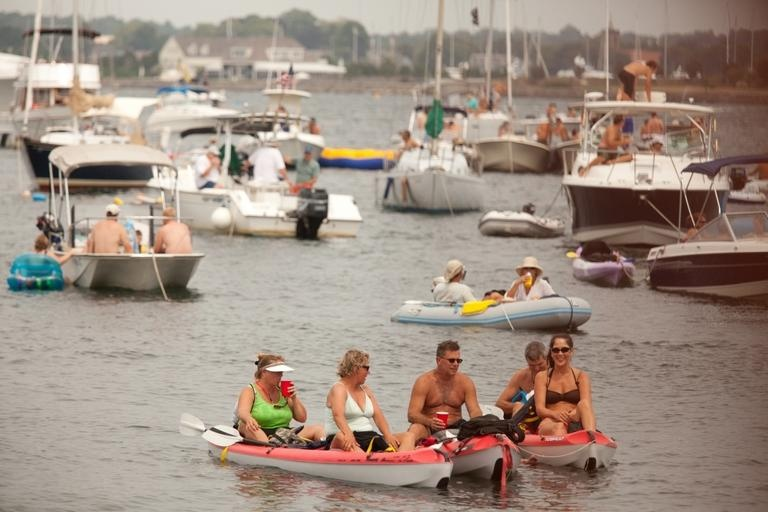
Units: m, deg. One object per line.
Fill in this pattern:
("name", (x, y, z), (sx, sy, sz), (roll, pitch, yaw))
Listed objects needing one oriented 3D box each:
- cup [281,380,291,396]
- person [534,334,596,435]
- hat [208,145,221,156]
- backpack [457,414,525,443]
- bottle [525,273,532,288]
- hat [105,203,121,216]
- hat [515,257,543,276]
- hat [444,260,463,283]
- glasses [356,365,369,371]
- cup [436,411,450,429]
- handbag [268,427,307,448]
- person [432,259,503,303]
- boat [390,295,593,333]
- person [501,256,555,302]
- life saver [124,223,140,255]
("cup", (-1.797, 2.391, 27.460), (0.206, 0.276, 0.174), (0, 7, 0))
("person", (3.302, 2.347, 27.532), (1.069, 1.853, 0.440), (1, 7, 7))
("hat", (-4.268, -2.681, 37.590), (0.280, 0.229, 0.541), (-1, 6, -7))
("backpack", (1.909, 3.084, 27.258), (0.825, 0.298, 0.577), (1, -1, -4))
("bottle", (3.006, 0.486, 31.308), (0.227, 0.324, 0.226), (0, 6, 0))
("hat", (-5.943, -1.037, 32.793), (0.257, 0.244, 0.425), (-1, 6, -6))
("hat", (3.038, 0.183, 31.393), (0.513, 0.388, 0.536), (-1, 6, -13))
("hat", (1.458, 0.287, 31.547), (0.352, 0.459, 0.468), (-4, 7, -30))
("glasses", (-0.361, 1.996, 27.030), (0.194, 0.119, 0.073), (-5, 8, -40))
("cup", (1.054, 2.977, 27.391), (0.269, 0.271, 0.265), (-2, -1, 0))
("handbag", (-1.778, 3.308, 27.399), (0.456, 0.229, 0.399), (-1, 0, 15))
("person", (1.747, 0.516, 31.914), (1.324, 0.928, 0.835), (2, 7, -14))
("boat", (2.438, 1.191, 31.608), (2.774, 0.568, 1.375), (1, -1, 10))
("person", (3.061, 0.661, 31.436), (1.016, 1.288, 0.798), (0, -1, 6))
("life saver", (-5.574, -0.451, 33.357), (0.227, 0.626, 0.469), (-7, -6, 8))
